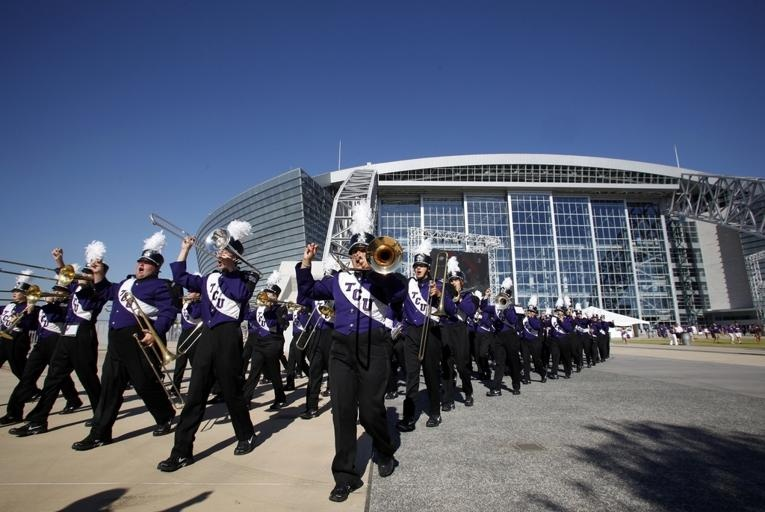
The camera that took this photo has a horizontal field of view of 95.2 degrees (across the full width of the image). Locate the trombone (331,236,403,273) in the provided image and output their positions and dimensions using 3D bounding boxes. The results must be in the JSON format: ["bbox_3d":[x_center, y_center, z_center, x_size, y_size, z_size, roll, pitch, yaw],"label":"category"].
[{"bbox_3d":[0.014,-0.026,4.790,0.476,0.522,0.311,-1,-10,4],"label":"trombone"}]

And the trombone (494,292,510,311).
[{"bbox_3d":[3.350,1.245,9.897,0.438,0.502,0.508,16,-5,32],"label":"trombone"}]
